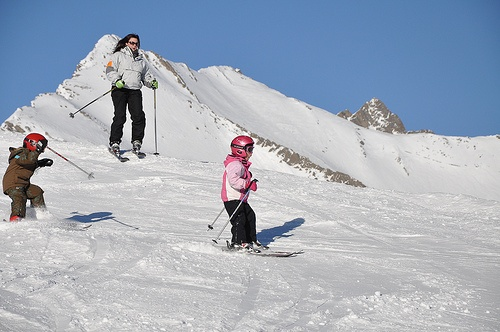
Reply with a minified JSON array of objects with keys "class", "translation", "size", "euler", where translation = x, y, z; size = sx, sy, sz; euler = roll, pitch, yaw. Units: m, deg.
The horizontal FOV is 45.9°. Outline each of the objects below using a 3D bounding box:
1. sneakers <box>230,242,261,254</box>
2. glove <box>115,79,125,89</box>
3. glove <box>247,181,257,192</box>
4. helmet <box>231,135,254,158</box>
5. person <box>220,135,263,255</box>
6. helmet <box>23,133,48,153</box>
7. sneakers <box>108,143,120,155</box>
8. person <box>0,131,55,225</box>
[{"class":"sneakers","translation":[-0.133,1.793,12.812],"size":[0.585,0.194,0.067],"euler":[3,-44,-19]},{"class":"glove","translation":[-4.128,-2.503,18.120],"size":[0.208,0.274,0.245],"euler":[3,-2,-1]},{"class":"glove","translation":[0.034,0.450,13.032],"size":[0.075,0.208,0.154],"euler":[20,9,31]},{"class":"helmet","translation":[-0.185,-0.451,13.316],"size":[0.518,0.424,0.410],"euler":[-5,4,-1]},{"class":"person","translation":[-0.197,0.534,13.202],"size":[1.092,2.232,0.673],"euler":[12,-4,-3]},{"class":"helmet","translation":[-4.874,-0.510,13.132],"size":[0.407,0.495,0.512],"euler":[11,31,-17]},{"class":"sneakers","translation":[-4.598,-0.564,19.362],"size":[0.291,0.161,0.405],"euler":[5,-7,-27]},{"class":"person","translation":[-5.097,0.158,12.914],"size":[0.867,1.971,0.785],"euler":[11,-4,18]}]
